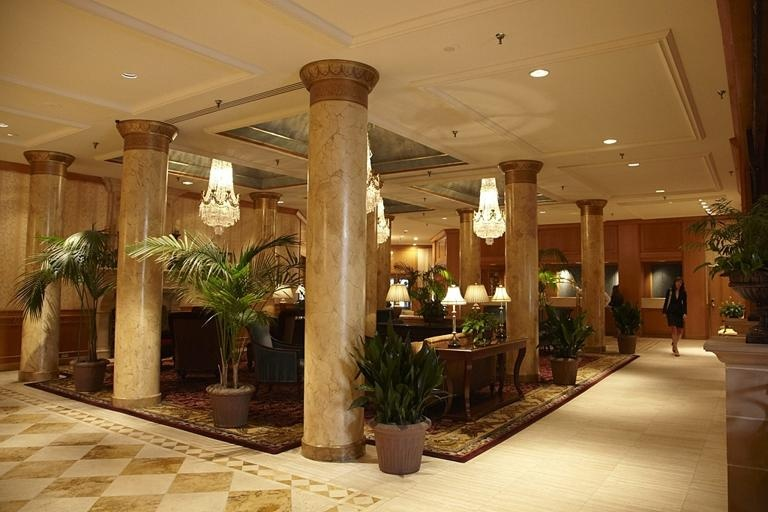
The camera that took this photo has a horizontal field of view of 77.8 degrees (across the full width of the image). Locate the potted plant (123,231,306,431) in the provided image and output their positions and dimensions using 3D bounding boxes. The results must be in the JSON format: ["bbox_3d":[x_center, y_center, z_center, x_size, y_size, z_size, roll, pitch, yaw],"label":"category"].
[{"bbox_3d":[-2.092,1.026,6.429,1.693,2.661,0.722,-1,-5,1],"label":"potted plant"}]

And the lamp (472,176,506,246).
[{"bbox_3d":[2.586,-1.199,11.680,1.039,1.772,1.008,-1,4,11],"label":"lamp"}]

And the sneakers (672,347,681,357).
[{"bbox_3d":[7.982,2.642,13.094,0.175,0.210,0.560,-3,-8,29],"label":"sneakers"}]

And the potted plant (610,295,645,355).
[{"bbox_3d":[6.842,2.043,13.493,0.662,1.431,0.541,-3,-5,16],"label":"potted plant"}]

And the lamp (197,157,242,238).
[{"bbox_3d":[-3.467,-1.328,10.136,0.723,1.620,1.168,1,-6,-20],"label":"lamp"}]

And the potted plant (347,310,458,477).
[{"bbox_3d":[0.186,1.635,5.888,1.078,1.626,1.404,-2,-5,6],"label":"potted plant"}]
